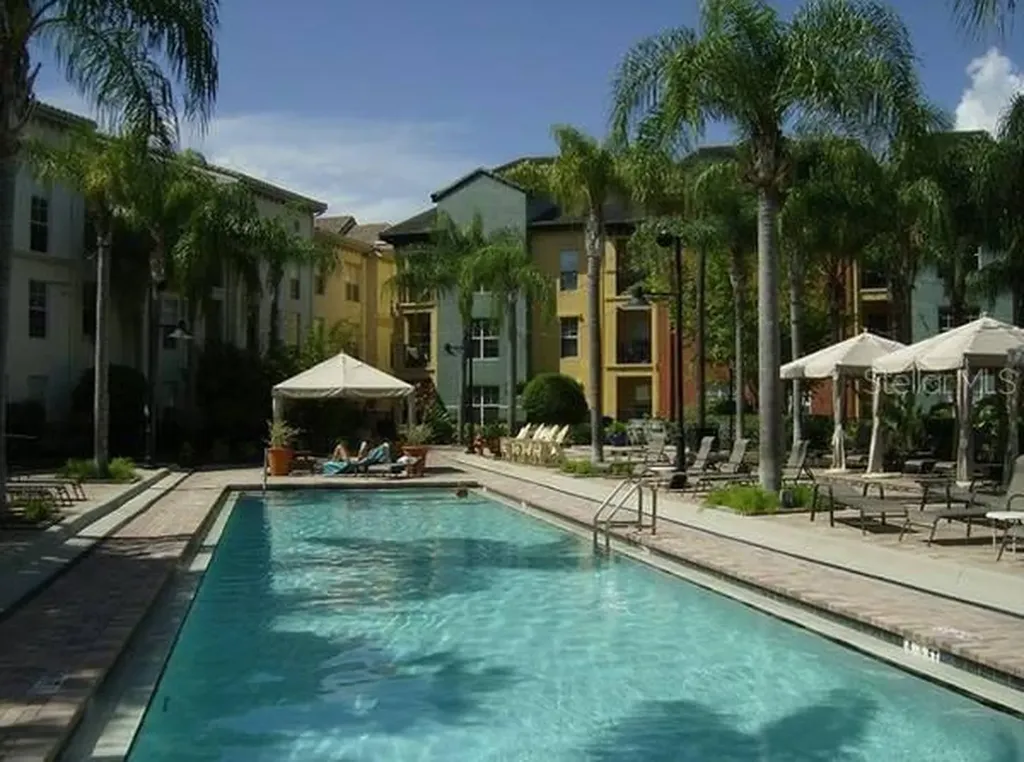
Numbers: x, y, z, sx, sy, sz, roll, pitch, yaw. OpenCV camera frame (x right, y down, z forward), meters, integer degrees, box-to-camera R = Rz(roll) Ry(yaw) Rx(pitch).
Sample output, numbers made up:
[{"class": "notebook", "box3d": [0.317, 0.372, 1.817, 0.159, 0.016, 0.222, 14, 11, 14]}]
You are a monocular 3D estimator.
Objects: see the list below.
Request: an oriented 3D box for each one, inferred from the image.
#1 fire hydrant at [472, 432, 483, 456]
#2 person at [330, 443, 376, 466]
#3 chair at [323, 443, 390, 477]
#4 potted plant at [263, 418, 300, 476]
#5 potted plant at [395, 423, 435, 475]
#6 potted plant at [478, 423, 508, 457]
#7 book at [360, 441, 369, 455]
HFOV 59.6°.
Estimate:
[{"class": "fire hydrant", "box3d": [-1.314, 2.551, 35.152, 0.365, 0.735, 1.215, -1, 7, -3]}, {"class": "person", "box3d": [-4.606, 2.166, 25.815, 1.240, 0.681, 1.075, 1, -5, -12]}, {"class": "chair", "box3d": [-4.341, 2.285, 25.432, 1.344, 0.698, 1.037, 1, -5, 0]}, {"class": "potted plant", "box3d": [-6.820, 1.955, 26.346, 0.757, 1.428, 0.873, -7, -5, 44]}, {"class": "potted plant", "box3d": [-2.874, 2.064, 27.172, 0.697, 1.302, 0.770, 0, -6, 5]}, {"class": "potted plant", "box3d": [-0.869, 2.583, 39.800, 0.936, 1.467, 1.224, -2, -3, 20]}, {"class": "book", "box3d": [-4.352, 1.987, 26.384, 0.287, 0.506, 0.174, 2, 0, -6]}]
